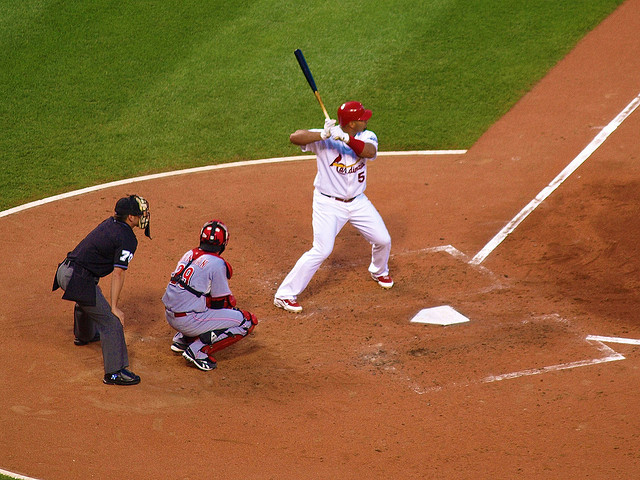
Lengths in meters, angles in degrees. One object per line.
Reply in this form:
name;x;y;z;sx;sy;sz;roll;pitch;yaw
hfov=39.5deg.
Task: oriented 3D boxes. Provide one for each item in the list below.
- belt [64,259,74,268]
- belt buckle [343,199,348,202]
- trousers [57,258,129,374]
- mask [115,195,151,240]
belt;-3.261;0.298;11.608;0.088;0.034;0.105;13;34;3
belt buckle;0.368;-0.587;13.048;0.051;0.007;0.043;1;84;-29
trousers;-3.032;1.039;11.815;0.568;1.546;0.762;-36;62;-25
mask;-2.410;-0.305;11.597;0.612;0.519;0.454;-6;21;-18
